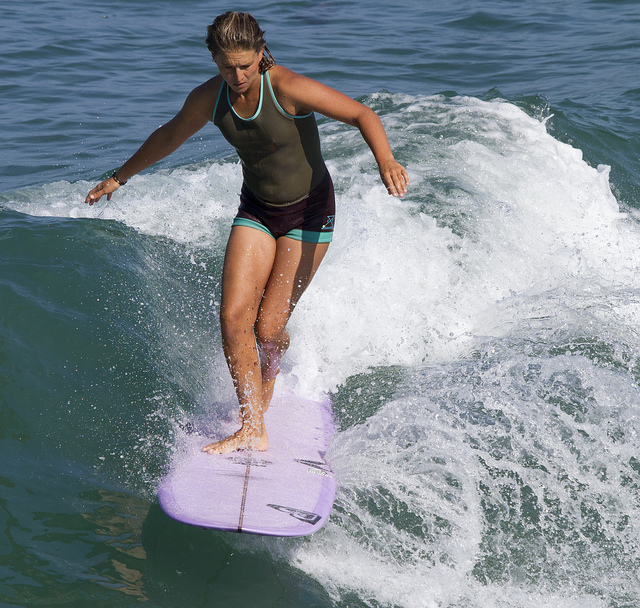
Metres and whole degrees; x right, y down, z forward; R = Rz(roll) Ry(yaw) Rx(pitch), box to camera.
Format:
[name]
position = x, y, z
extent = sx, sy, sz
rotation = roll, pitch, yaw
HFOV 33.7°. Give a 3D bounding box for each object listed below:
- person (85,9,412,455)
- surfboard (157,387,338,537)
[person]
position = -0.264, -0.454, 5.917
extent = 1.014, 2.076, 1.484
rotation = -22, 60, -23
[surfboard]
position = -0.360, 0.881, 6.060
extent = 0.933, 0.604, 1.187
rotation = 11, 52, 0
